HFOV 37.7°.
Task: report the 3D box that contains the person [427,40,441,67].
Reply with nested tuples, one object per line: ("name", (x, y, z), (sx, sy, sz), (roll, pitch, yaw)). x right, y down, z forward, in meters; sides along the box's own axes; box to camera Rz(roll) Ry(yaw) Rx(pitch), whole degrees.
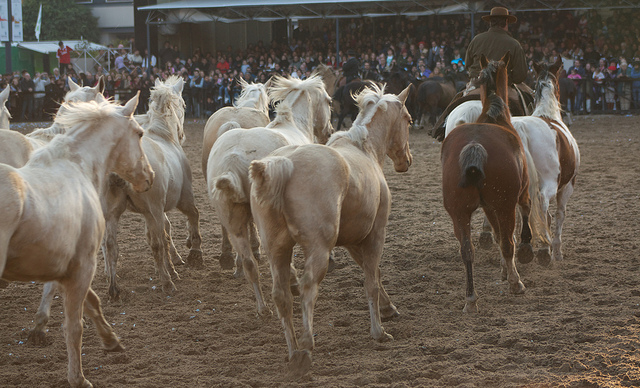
("person", (4.072, -4.939, 32.921), (0.447, 0.924, 0.842), (1, 6, 5))

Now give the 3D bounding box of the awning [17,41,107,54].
("awning", (-12.759, -7.081, 44.798), (3.745, 0.767, 3.321), (-4, 8, -40))

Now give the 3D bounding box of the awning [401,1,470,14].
("awning", (4.435, -6.702, 33.671), (0.456, 0.377, 2.398), (-4, 8, -43))

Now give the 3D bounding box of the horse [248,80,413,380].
("horse", (0.232, 0.649, 16.959), (2.963, 5.091, 0.995), (-2, 6, -27))

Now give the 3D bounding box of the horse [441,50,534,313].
("horse", (3.259, -0.209, 18.006), (1.731, 4.817, 1.168), (-3, 6, -32))

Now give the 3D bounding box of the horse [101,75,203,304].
("horse", (-3.390, -0.097, 19.305), (1.277, 4.033, 5.079), (-4, 11, 11))

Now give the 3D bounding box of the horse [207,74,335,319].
("horse", (-0.836, -0.242, 19.532), (1.379, 3.949, 5.455), (1, 13, 18))

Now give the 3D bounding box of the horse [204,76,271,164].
("horse", (-1.635, -1.554, 19.331), (0.754, 1.750, 2.546), (8, 35, 11))
